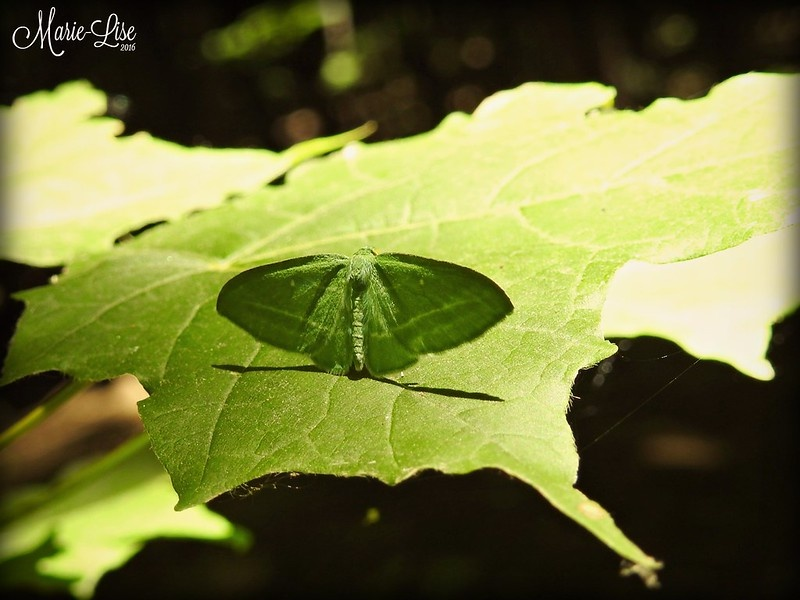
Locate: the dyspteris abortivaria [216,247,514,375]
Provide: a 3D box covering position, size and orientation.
[{"bbox_3d":[-0.035,0.011,0.801,0.275,0.138,0.028,1,14,-5],"label":"dyspteris abortivaria"}]
